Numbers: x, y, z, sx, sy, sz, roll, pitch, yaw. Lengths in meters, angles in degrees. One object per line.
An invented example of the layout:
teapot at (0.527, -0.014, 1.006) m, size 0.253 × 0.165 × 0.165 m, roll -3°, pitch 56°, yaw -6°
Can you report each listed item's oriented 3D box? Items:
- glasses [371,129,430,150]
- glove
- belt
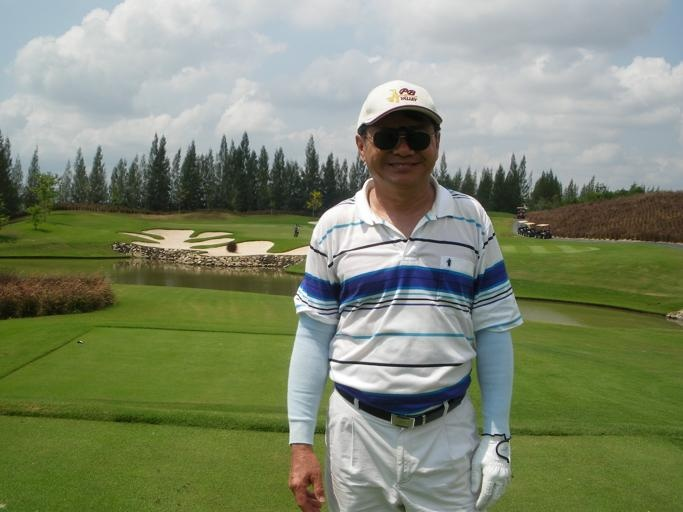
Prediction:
glasses at (0.350, -0.685, 3.145) m, size 0.175 × 0.069 × 0.182 m, roll 1°, pitch -4°, yaw -4°
glove at (0.846, 1.213, 3.125) m, size 0.232 × 0.428 × 0.131 m, roll 13°, pitch -5°, yaw -9°
belt at (0.332, 0.879, 3.081) m, size 0.711 × 0.183 × 0.143 m, roll 1°, pitch -2°, yaw 7°
